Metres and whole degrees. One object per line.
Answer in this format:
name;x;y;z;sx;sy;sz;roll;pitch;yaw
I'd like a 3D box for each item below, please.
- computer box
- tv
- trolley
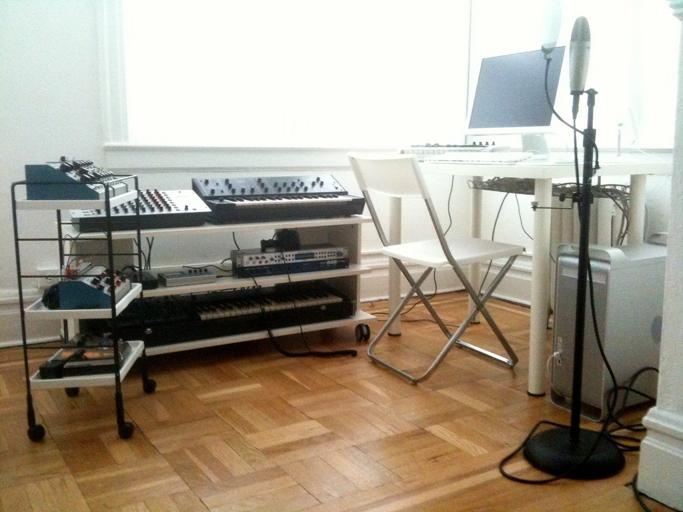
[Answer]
computer box;1.191;0.298;2.423;0.502;0.722;0.385;-12;19;-36
tv;0.896;-0.867;2.891;0.212;0.408;0.636;-5;14;-15
trolley;-1.264;0.118;2.482;0.677;1.106;1.032;-6;15;-18
